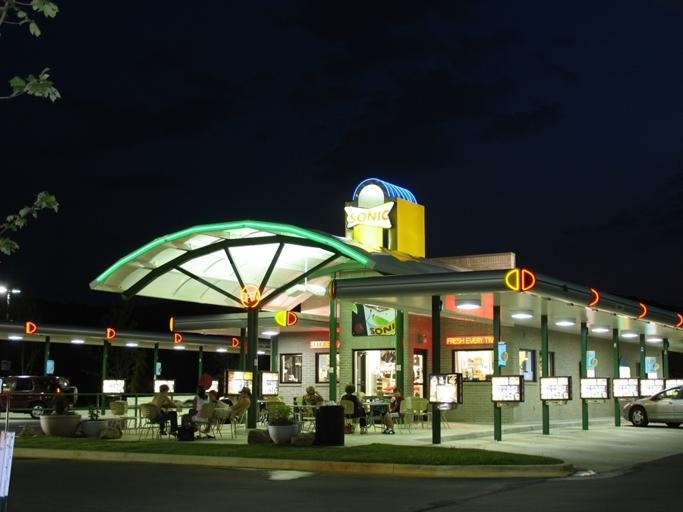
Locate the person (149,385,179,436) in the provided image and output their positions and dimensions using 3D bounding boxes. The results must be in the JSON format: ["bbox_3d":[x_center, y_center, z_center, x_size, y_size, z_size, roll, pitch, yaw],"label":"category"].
[{"bbox_3d":[-5.427,4.746,23.144,0.776,1.498,3.688,4,-15,-13],"label":"person"}]

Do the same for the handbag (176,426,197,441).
[{"bbox_3d":[-4.341,4.981,21.317,0.395,0.393,0.301,3,5,-1],"label":"handbag"}]

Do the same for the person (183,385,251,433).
[{"bbox_3d":[-3.647,4.728,22.635,1.532,0.769,1.802,12,-17,-43],"label":"person"}]

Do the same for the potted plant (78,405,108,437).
[{"bbox_3d":[-7.299,4.981,22.693,0.859,1.086,0.878,-2,-7,31],"label":"potted plant"}]

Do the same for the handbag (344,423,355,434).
[{"bbox_3d":[0.255,5.461,23.831,0.278,0.197,0.284,-4,-8,38],"label":"handbag"}]

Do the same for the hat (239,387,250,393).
[{"bbox_3d":[-3.193,4.479,25.038,0.215,0.233,0.187,-9,-18,34],"label":"hat"}]

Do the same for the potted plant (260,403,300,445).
[{"bbox_3d":[-1.579,4.469,20.139,0.960,1.235,0.919,1,-18,-7],"label":"potted plant"}]

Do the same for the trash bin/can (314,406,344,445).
[{"bbox_3d":[-0.304,4.315,19.199,0.893,1.016,0.910,-5,-11,24],"label":"trash bin/can"}]

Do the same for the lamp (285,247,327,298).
[{"bbox_3d":[-1.285,0.525,26.622,1.240,1.385,1.228,21,-29,-29],"label":"lamp"}]

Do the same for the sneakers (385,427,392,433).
[{"bbox_3d":[1.523,5.576,24.134,0.123,0.207,0.339,1,-3,6],"label":"sneakers"}]

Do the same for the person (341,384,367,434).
[{"bbox_3d":[0.413,4.819,23.855,0.623,1.433,1.718,-2,-15,11],"label":"person"}]

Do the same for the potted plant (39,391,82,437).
[{"bbox_3d":[-8.595,4.901,23.231,1.204,1.445,1.193,6,-11,-30],"label":"potted plant"}]
